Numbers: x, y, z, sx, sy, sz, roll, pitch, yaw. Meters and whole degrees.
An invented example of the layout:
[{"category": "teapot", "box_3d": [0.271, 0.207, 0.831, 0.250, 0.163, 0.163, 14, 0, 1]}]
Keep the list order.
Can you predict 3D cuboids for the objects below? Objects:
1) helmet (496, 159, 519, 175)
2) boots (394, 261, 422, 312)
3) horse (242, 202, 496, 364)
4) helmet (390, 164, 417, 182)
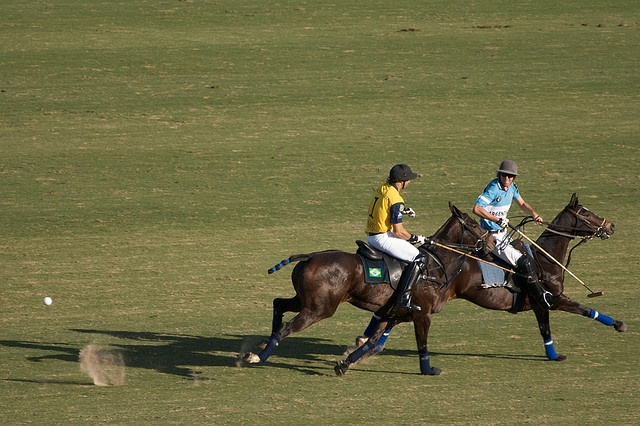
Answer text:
[{"category": "helmet", "box_3d": [4.328, -1.061, 36.729, 0.415, 0.333, 0.547, 4, 6, 7]}, {"category": "boots", "box_3d": [1.999, 1.627, 36.147, 0.510, 1.093, 0.278, 5, 8, 2]}, {"category": "horse", "box_3d": [0.957, 1.850, 36.513, 7.519, 3.005, 1.517, -1, 4, -30]}, {"category": "helmet", "box_3d": [1.851, -0.951, 36.359, 0.669, 0.246, 0.419, -8, 17, -14]}]
